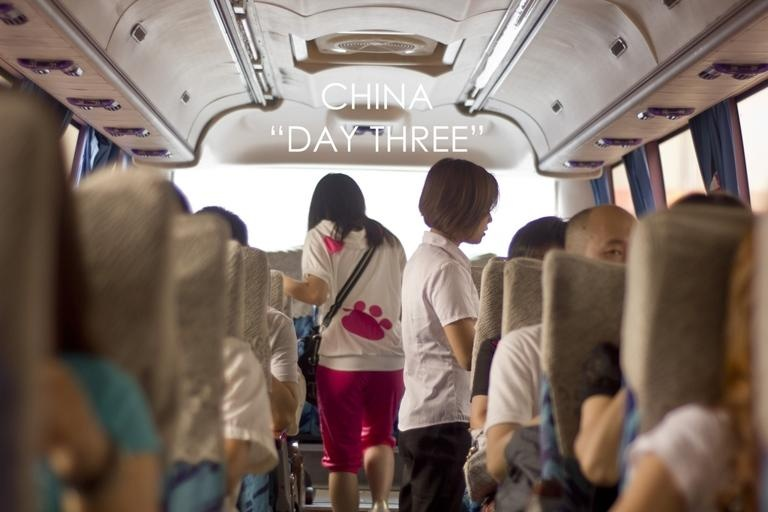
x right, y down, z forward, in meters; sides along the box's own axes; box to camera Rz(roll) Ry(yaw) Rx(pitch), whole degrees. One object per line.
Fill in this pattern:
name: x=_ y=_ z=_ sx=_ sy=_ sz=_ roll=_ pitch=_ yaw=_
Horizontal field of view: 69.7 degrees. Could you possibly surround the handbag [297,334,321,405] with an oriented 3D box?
handbag: x=-0.371 y=0.559 z=2.864 sx=0.107 sy=0.269 sz=0.197 roll=5 pitch=3 yaw=3
